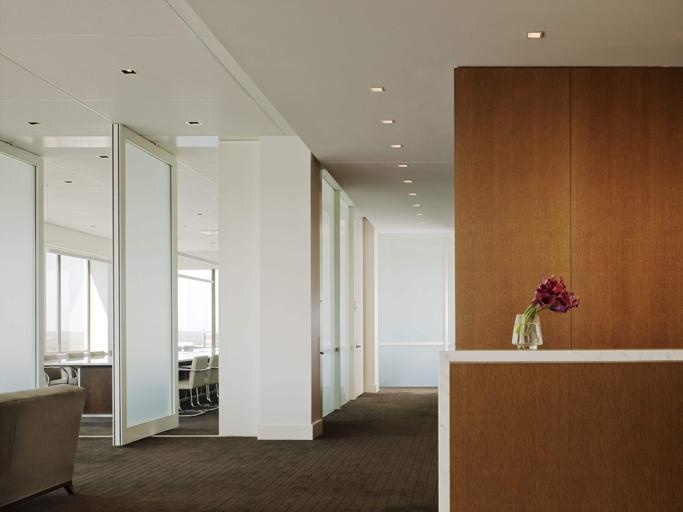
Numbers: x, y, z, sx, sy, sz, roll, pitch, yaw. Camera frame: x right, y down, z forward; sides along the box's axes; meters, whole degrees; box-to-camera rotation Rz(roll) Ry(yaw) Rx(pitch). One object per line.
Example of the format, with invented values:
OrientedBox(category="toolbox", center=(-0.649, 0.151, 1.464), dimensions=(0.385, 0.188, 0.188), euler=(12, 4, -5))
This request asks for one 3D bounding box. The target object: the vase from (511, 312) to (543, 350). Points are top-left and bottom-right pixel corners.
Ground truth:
OrientedBox(category="vase", center=(1.195, 0.478, 3.794), dimensions=(0.217, 0.230, 0.198), euler=(0, 1, 6))
